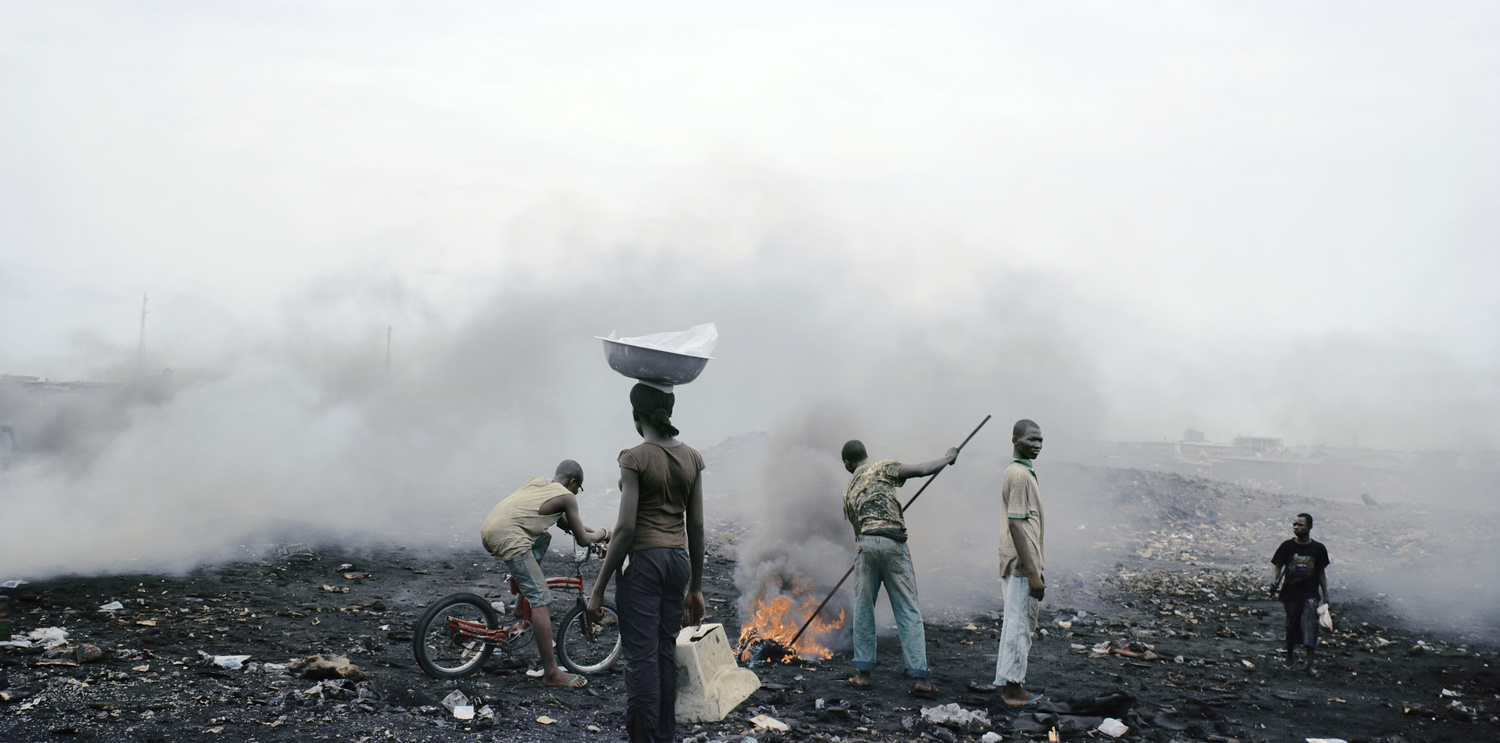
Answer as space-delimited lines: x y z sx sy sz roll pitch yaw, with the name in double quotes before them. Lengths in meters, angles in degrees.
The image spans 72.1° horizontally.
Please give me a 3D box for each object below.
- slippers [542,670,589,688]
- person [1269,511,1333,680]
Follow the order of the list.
"slippers" -3.216 5.310 17.981 0.631 0.201 0.334 0 0 8
"person" 10.265 3.985 19.270 0.918 2.742 1.062 8 10 27
